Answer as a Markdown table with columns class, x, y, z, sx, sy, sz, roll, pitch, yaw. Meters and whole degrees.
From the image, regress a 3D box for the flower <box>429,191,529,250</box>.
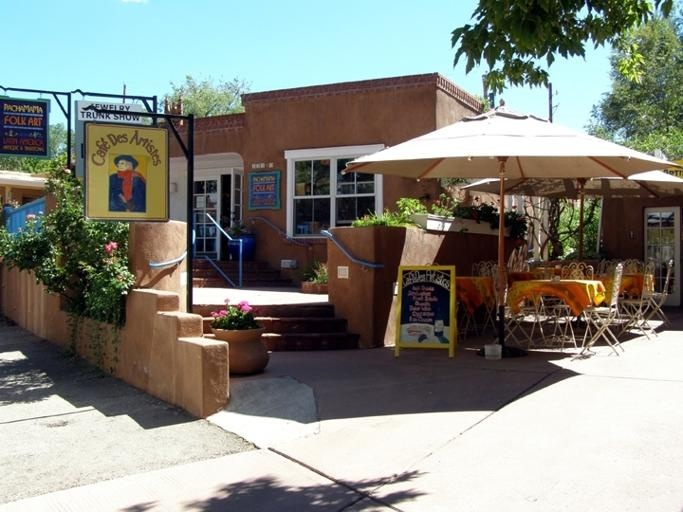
| class | x | y | z | sx | sy | sz | roll | pitch | yaw |
| --- | --- | --- | --- | --- | --- | --- | --- | --- | --- |
| flower | 3.427 | -0.890 | 13.869 | 1.408 | 0.625 | 1.804 | 5 | -7 | 42 |

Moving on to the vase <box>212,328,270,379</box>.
| class | x | y | z | sx | sy | sz | roll | pitch | yaw |
| --- | --- | --- | --- | --- | --- | --- | --- | --- | --- |
| vase | -1.467 | 1.360 | 8.475 | 0.790 | 0.712 | 0.870 | -1 | 3 | 13 |

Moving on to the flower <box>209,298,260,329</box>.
| class | x | y | z | sx | sy | sz | roll | pitch | yaw |
| --- | --- | --- | --- | --- | --- | --- | --- | --- | --- |
| flower | -1.557 | 0.867 | 8.446 | 0.494 | 0.370 | 0.514 | 1 | 1 | -29 |

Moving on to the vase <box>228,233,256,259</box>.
| class | x | y | z | sx | sy | sz | roll | pitch | yaw |
| --- | --- | --- | --- | --- | --- | --- | --- | --- | --- |
| vase | -2.574 | -0.237 | 15.165 | 0.569 | 0.717 | 0.619 | 1 | -8 | -6 |
